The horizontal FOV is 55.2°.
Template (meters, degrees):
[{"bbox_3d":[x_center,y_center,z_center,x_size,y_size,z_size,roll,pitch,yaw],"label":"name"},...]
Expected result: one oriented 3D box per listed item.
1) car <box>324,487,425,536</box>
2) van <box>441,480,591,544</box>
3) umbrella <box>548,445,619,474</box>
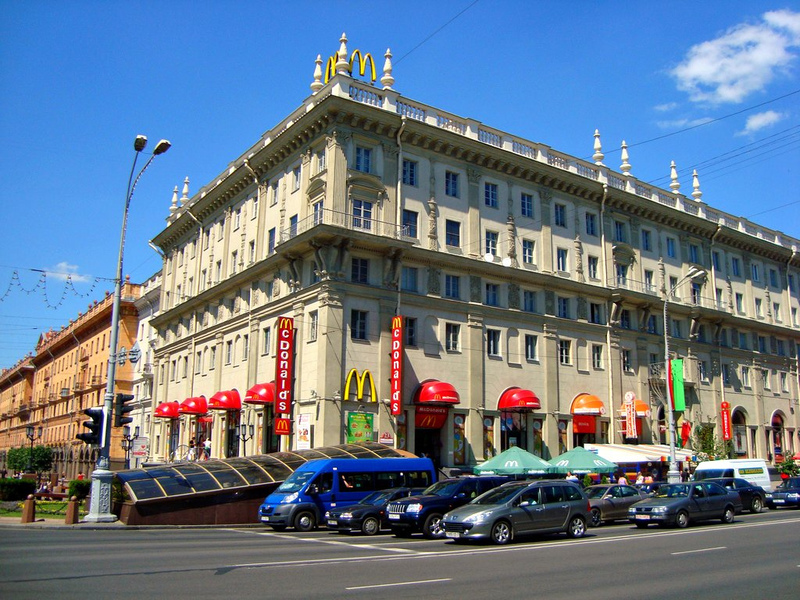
[{"bbox_3d":[-0.978,9.163,33.153,4.062,1.326,1.836,10,-19,-34],"label":"car"},{"bbox_3d":[4.413,8.205,29.323,5.183,1.834,2.415,10,-22,-29],"label":"van"},{"bbox_3d":[10.569,9.260,43.543,2.227,0.742,2.276,14,-21,-31],"label":"umbrella"}]
